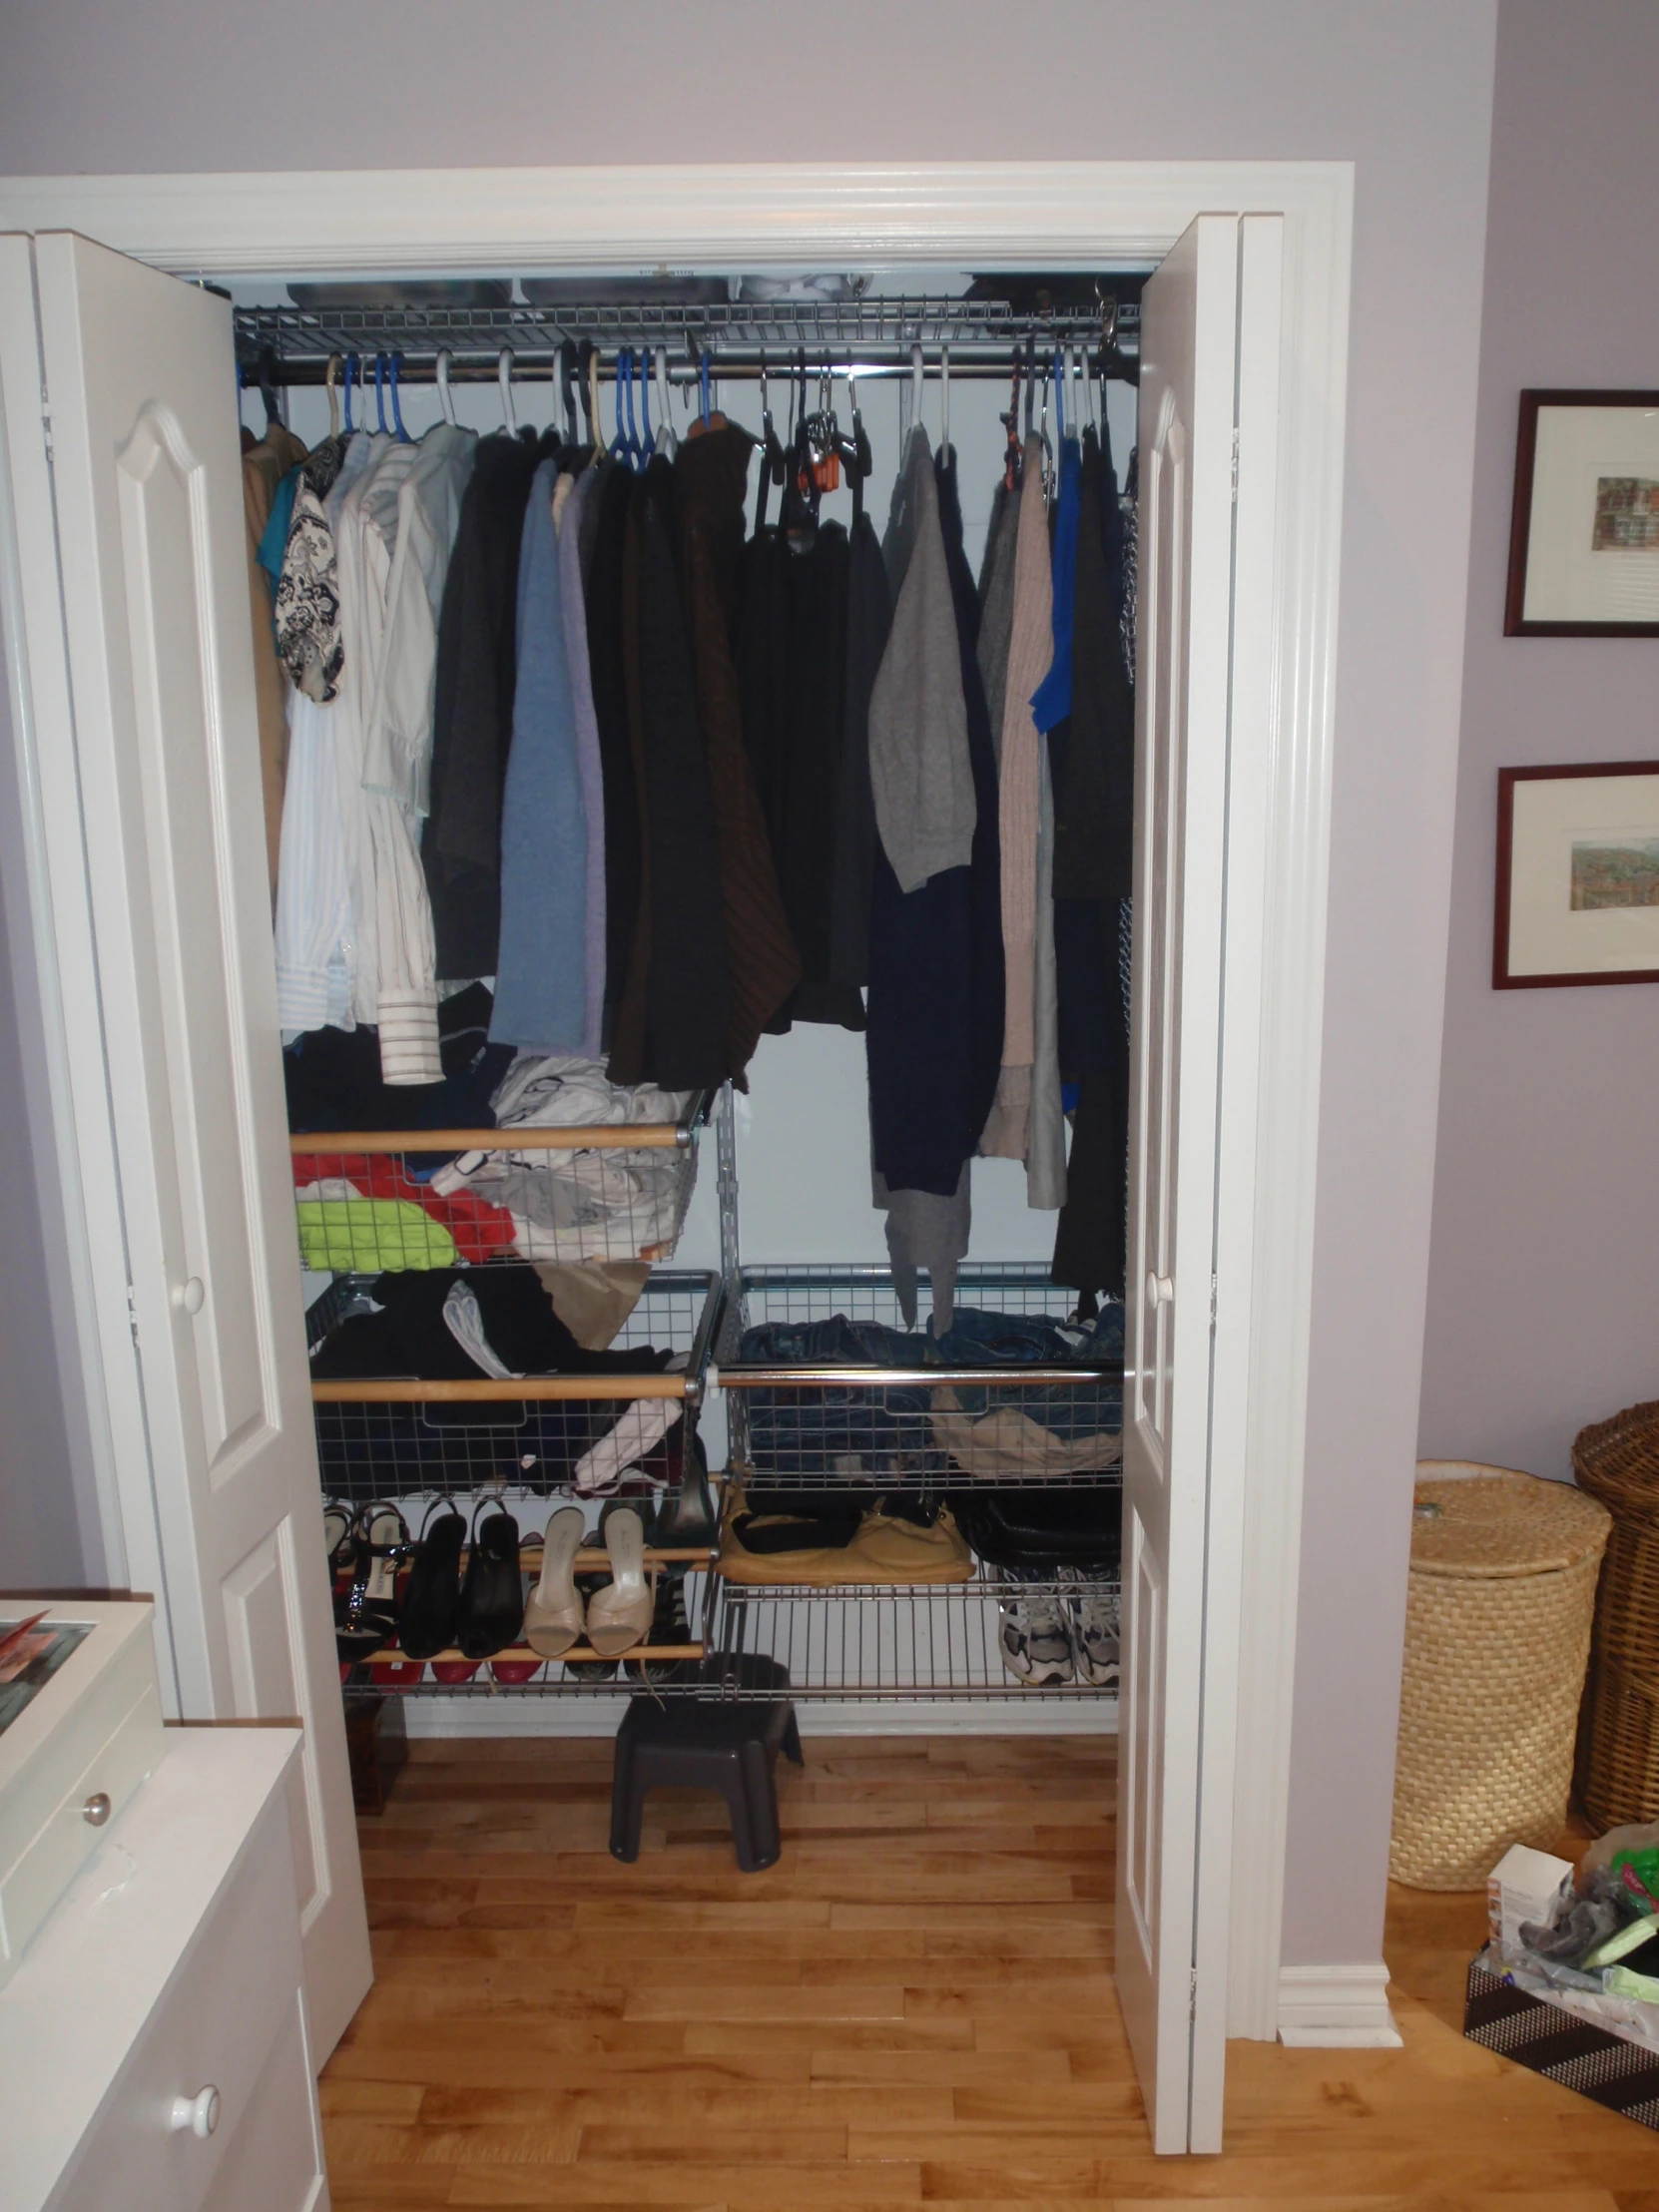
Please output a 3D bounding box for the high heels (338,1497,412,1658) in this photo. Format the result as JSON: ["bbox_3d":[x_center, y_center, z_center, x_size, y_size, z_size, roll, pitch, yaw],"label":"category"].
[{"bbox_3d":[-0.679,0.699,2.595,0.074,0.078,0.237,0,34,-9],"label":"high heels"}]

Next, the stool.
[{"bbox_3d":[-0.183,0.919,2.545,0.214,0.166,0.312,1,14,3],"label":"stool"}]

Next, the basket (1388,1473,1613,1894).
[{"bbox_3d":[0.925,0.798,2.404,0.257,0.506,0.399,2,10,24],"label":"basket"}]
